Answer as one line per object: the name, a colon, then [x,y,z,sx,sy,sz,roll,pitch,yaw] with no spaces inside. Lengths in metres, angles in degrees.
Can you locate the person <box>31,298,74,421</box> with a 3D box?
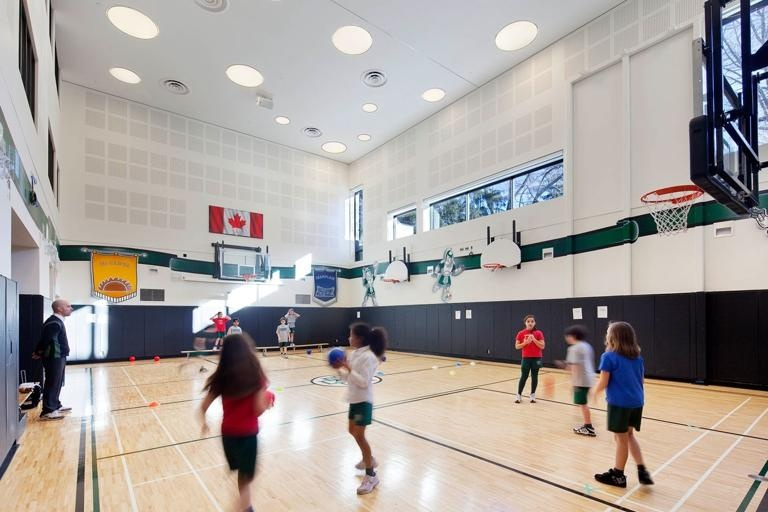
person: [-6.267,2.020,9.540,0.640,2.233,0.871,-6,15,-21]

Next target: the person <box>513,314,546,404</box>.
person: [2.976,2.101,10.350,0.486,2.119,1.455,4,15,16]

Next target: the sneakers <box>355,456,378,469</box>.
sneakers: [-0.314,3.176,7.606,0.433,0.210,0.151,-3,-7,22]

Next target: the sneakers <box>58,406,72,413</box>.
sneakers: [-6.263,3.022,9.816,0.278,0.139,0.107,1,-7,14]

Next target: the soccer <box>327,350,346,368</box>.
soccer: [-0.673,1.461,7.143,0.266,0.275,0.223,-5,15,-18]

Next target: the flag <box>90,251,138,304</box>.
flag: [-8.467,0.717,15.600,1.520,2.004,0.201,3,-11,-43]

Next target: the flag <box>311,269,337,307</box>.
flag: [-2.444,1.308,20.005,1.275,1.818,0.143,9,-16,-41]

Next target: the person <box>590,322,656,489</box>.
person: [3.557,2.187,7.308,0.891,2.347,0.747,9,17,32]

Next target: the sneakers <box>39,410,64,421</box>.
sneakers: [-6.264,3.025,9.460,0.411,0.177,0.159,3,-6,-13]

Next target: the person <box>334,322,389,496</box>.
person: [-0.323,2.218,7.330,0.651,2.371,0.790,1,14,4]

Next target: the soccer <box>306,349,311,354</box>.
soccer: [-2.683,3.471,17.960,0.108,0.119,0.112,-1,-2,-12]
